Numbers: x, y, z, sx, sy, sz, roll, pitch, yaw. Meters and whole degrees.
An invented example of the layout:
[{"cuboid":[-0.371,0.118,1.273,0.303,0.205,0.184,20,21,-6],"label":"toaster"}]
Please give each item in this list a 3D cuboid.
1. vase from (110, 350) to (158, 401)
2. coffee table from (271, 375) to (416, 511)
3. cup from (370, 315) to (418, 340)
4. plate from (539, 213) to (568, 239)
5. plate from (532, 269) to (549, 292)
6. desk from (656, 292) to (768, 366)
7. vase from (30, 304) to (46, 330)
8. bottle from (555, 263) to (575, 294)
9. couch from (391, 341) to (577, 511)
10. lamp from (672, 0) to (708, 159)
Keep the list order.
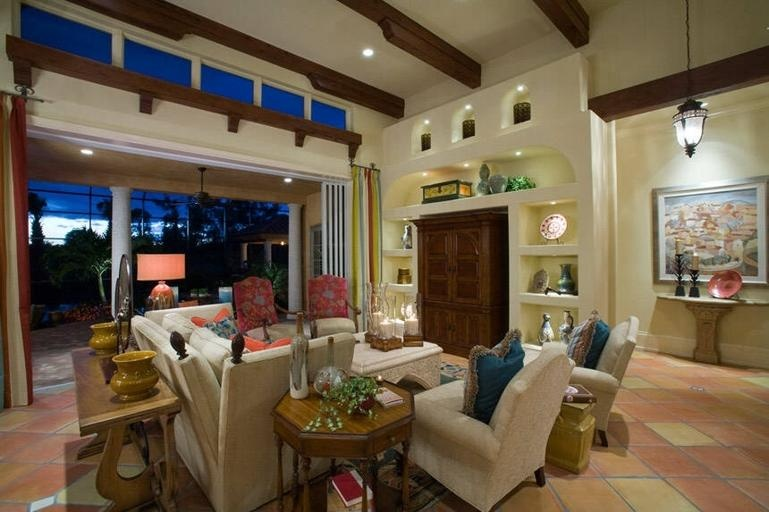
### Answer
[{"cuboid":[-2.397,1.200,4.674,0.448,0.424,0.450,5,11,9],"label":"vase"},{"cuboid":[-0.429,1.713,4.541,1.249,0.944,1.124,0,-1,-32],"label":"coffee table"},{"cuboid":[0.157,0.915,6.169,0.420,0.159,0.306,0,-1,-28],"label":"cup"},{"cuboid":[2.491,-0.421,7.169,0.099,0.366,0.373,13,-53,-40],"label":"plate"},{"cuboid":[2.329,0.389,7.256,0.083,0.331,0.232,16,7,-43],"label":"plate"},{"cuboid":[4.769,1.084,7.082,1.185,0.992,0.456,-1,0,34],"label":"desk"},{"cuboid":[-6.812,1.188,9.509,0.186,0.484,0.581,-1,0,-17],"label":"vase"},{"cuboid":[2.616,0.331,6.930,0.273,0.421,0.190,-1,0,2],"label":"bottle"},{"cuboid":[1.232,1.667,5.263,1.579,1.987,1.582,-1,2,-41],"label":"couch"},{"cuboid":[3.871,-2.257,6.178,0.330,2.042,0.753,-1,1,31],"label":"lamp"}]
